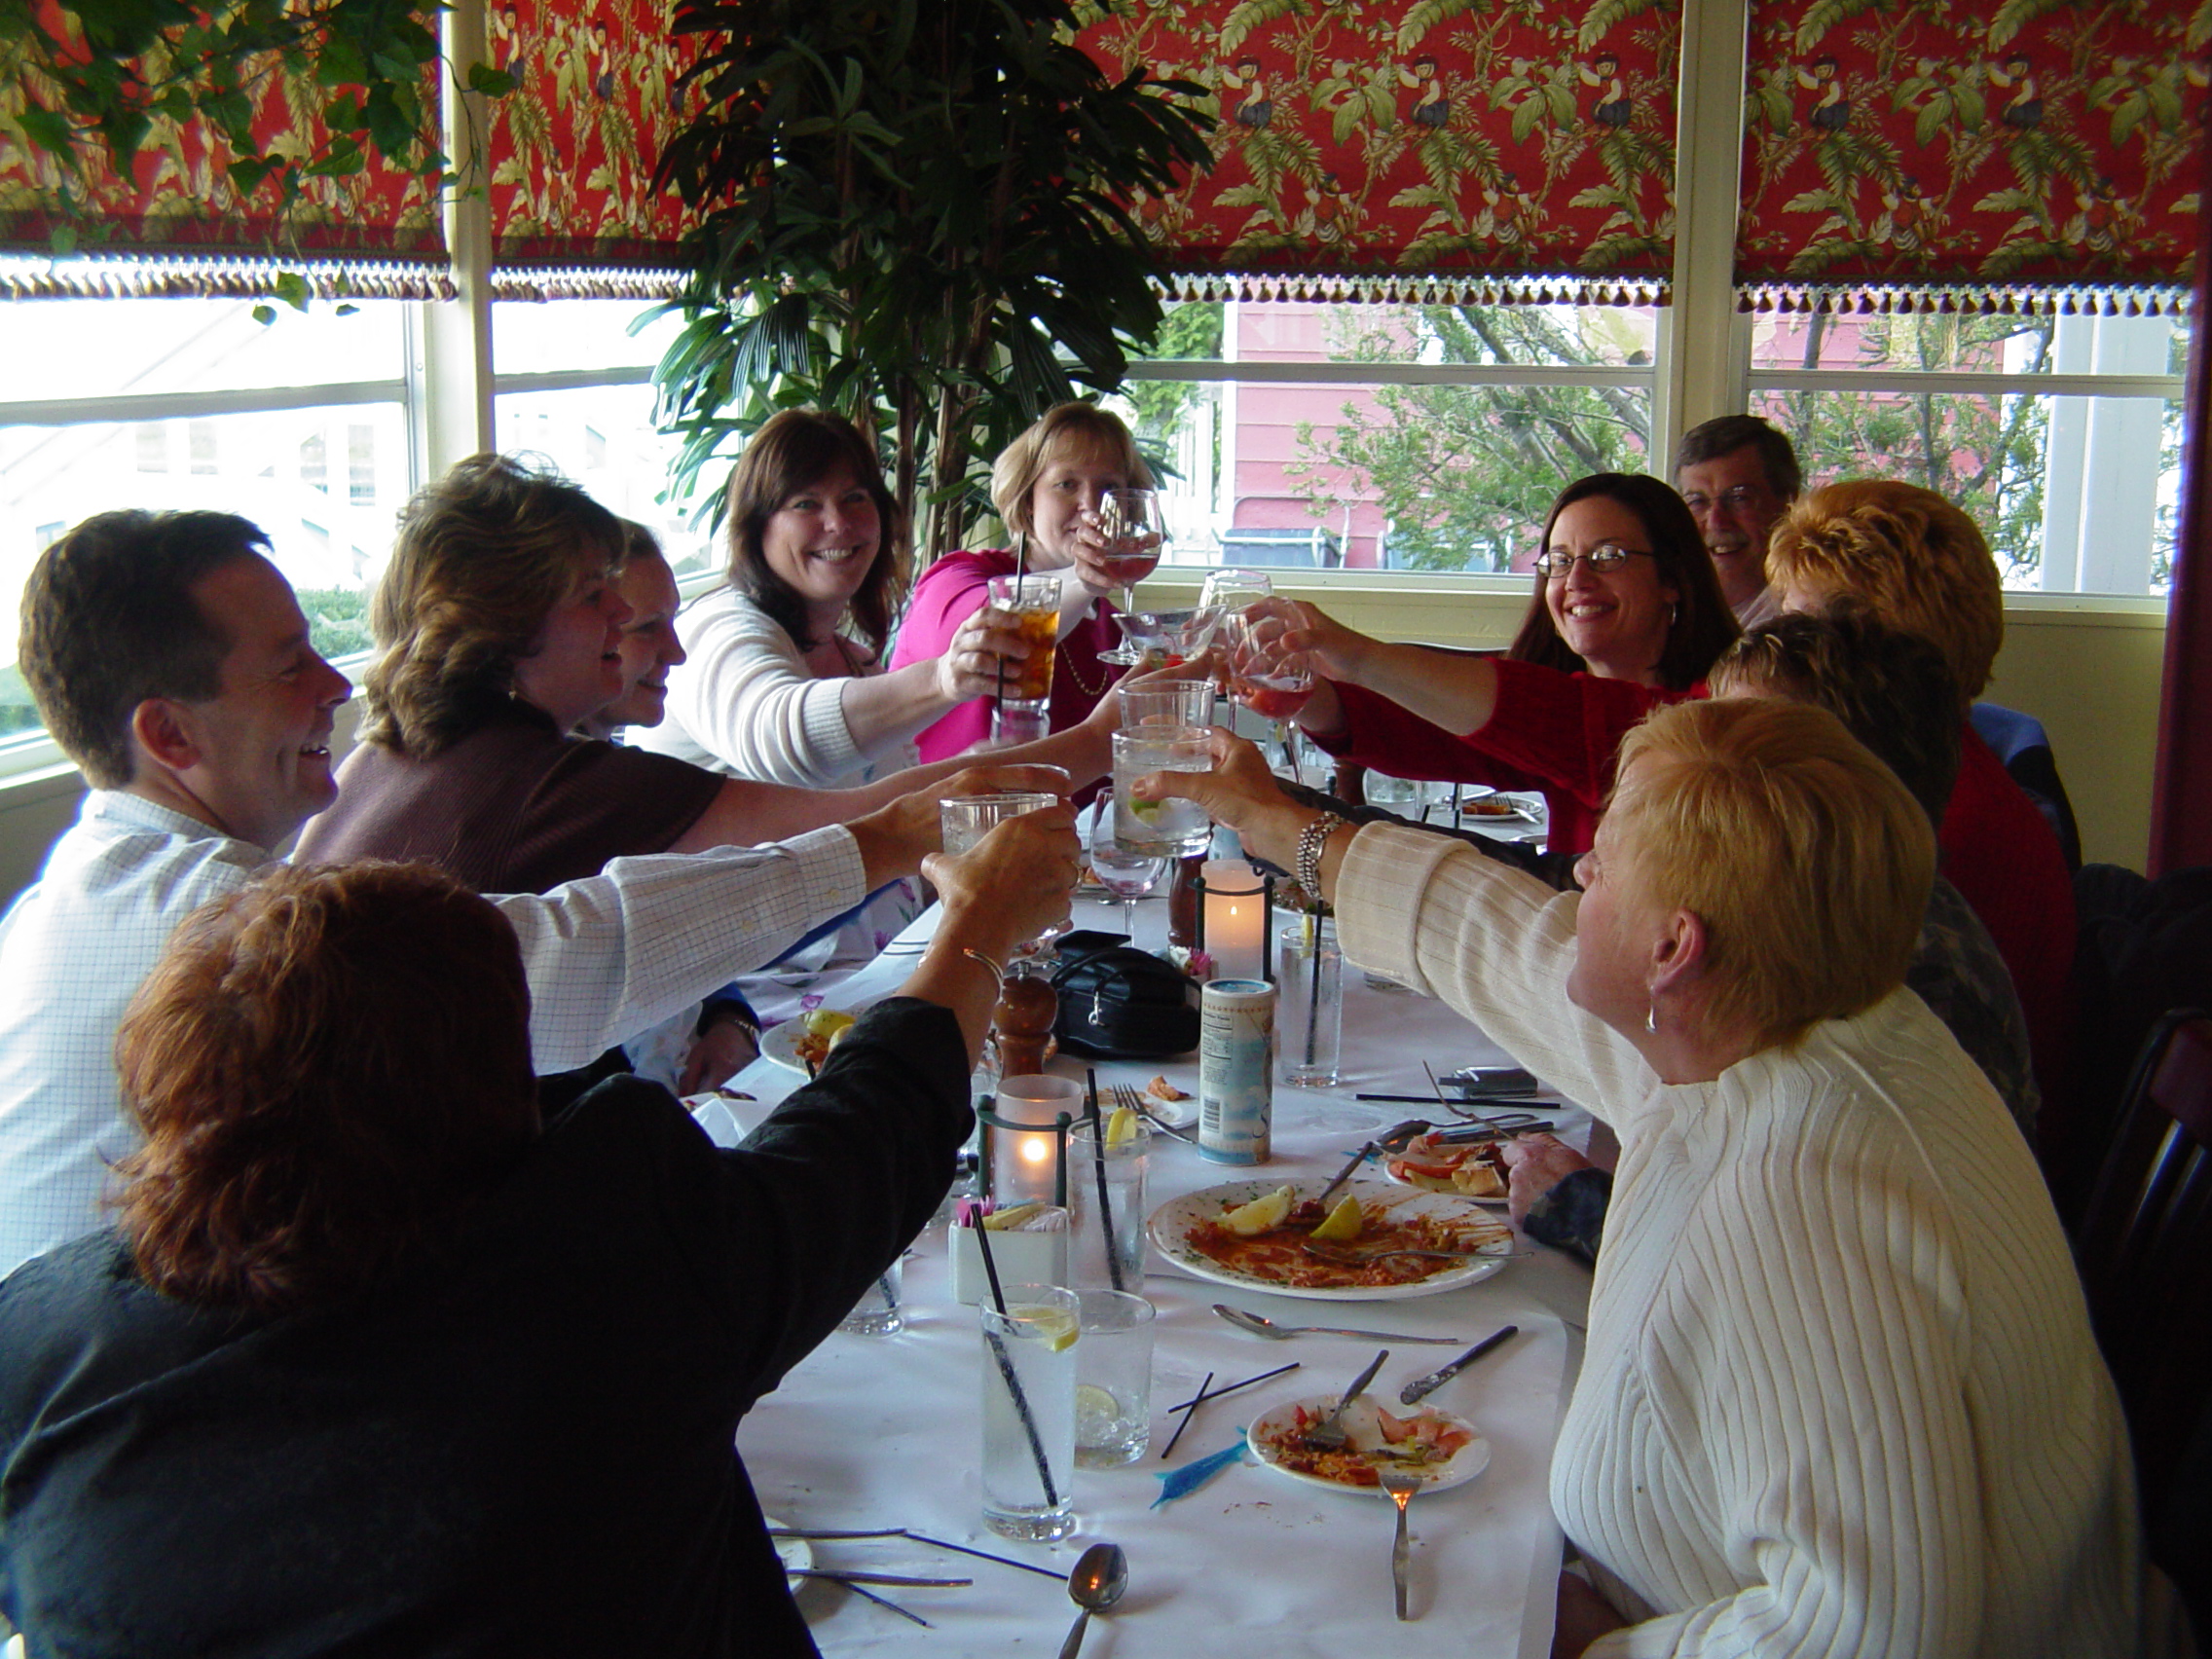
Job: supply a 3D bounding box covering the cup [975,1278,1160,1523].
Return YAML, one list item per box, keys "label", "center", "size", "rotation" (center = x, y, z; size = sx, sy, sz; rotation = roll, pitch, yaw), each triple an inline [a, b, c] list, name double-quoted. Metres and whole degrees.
- label: "cup"
  center: [-0.035, 0.439, 1.359]
  size: [0.150, 0.180, 0.166]
  rotation: [0, 3, 1]

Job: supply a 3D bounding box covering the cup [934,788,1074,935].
- label: "cup"
  center: [-0.098, 0.031, 1.663]
  size: [0.139, 0.095, 0.141]
  rotation: [0, -3, 0]

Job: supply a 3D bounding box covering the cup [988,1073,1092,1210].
- label: "cup"
  center: [-0.063, 0.298, 1.629]
  size: [0.108, 0.125, 0.109]
  rotation: [0, -3, 0]

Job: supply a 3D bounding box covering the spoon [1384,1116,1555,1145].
- label: "spoon"
  center: [0.422, 0.352, 1.993]
  size: [0.122, 0.015, 0.024]
  rotation: [-1, 8, -28]

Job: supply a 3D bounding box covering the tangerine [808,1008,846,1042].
- label: "tangerine"
  center: [-0.339, 0.238, 2.076]
  size: [0.072, 0.031, 0.092]
  rotation: [0, -8, -10]

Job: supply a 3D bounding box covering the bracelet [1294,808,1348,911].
- label: "bracelet"
  center: [0.240, 0.041, 1.935]
  size: [0.034, 0.093, 0.075]
  rotation: [4, 26, 10]

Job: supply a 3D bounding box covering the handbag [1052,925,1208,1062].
- label: "handbag"
  center: [0.028, 0.220, 2.226]
  size: [0.192, 0.123, 0.318]
  rotation: [2, -1, -8]

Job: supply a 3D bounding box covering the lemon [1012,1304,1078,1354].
- label: "lemon"
  center: [-0.046, 0.380, 1.306]
  size: [0.032, 0.020, 0.037]
  rotation: [1, -6, 2]
